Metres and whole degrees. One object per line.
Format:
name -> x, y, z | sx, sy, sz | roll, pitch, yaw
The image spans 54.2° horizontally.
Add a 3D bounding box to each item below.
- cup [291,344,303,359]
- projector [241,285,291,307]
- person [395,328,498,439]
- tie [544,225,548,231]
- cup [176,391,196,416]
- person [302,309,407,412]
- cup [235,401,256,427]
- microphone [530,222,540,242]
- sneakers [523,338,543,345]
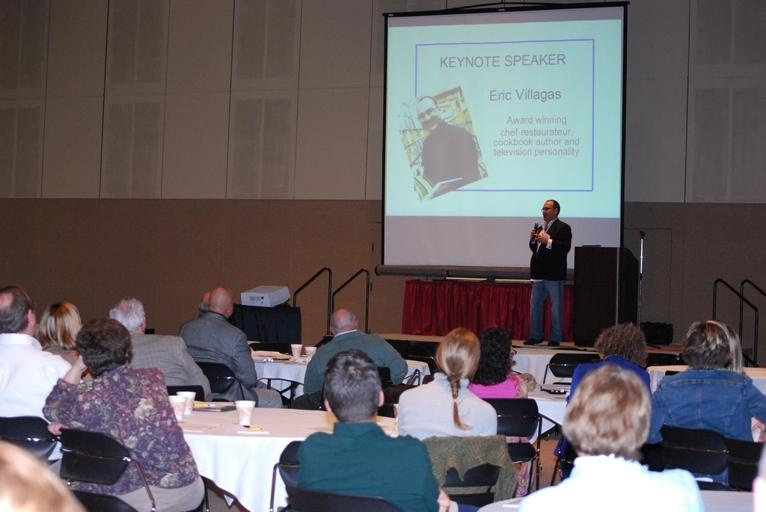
cup -> -0.910, 1.028, 7.997 | 0.140, 0.171, 0.147 | 0, 0, 0
projector -> -1.584, 0.530, 9.720 | 0.402, 0.174, 0.335 | -4, 3, 30
person -> 0.489, 0.976, 5.608 | 0.586, 1.417, 0.527 | 4, 10, 3
tie -> 2.032, -0.351, 9.273 | 0.021, 0.065, 0.057 | 26, 26, -1
cup -> -1.399, 1.068, 5.457 | 0.151, 0.188, 0.162 | -2, 1, 0
person -> -0.200, 0.920, 6.726 | 0.623, 1.069, 0.571 | -6, 33, -9
cup -> -0.974, 1.123, 5.315 | 0.147, 0.183, 0.164 | 2, -14, -12
microphone -> 1.847, -0.290, 8.990 | 0.117, 0.184, 0.318 | 0, -1, 11
sneakers -> 1.866, 1.061, 9.277 | 0.237, 0.111, 0.086 | 3, -4, -19
